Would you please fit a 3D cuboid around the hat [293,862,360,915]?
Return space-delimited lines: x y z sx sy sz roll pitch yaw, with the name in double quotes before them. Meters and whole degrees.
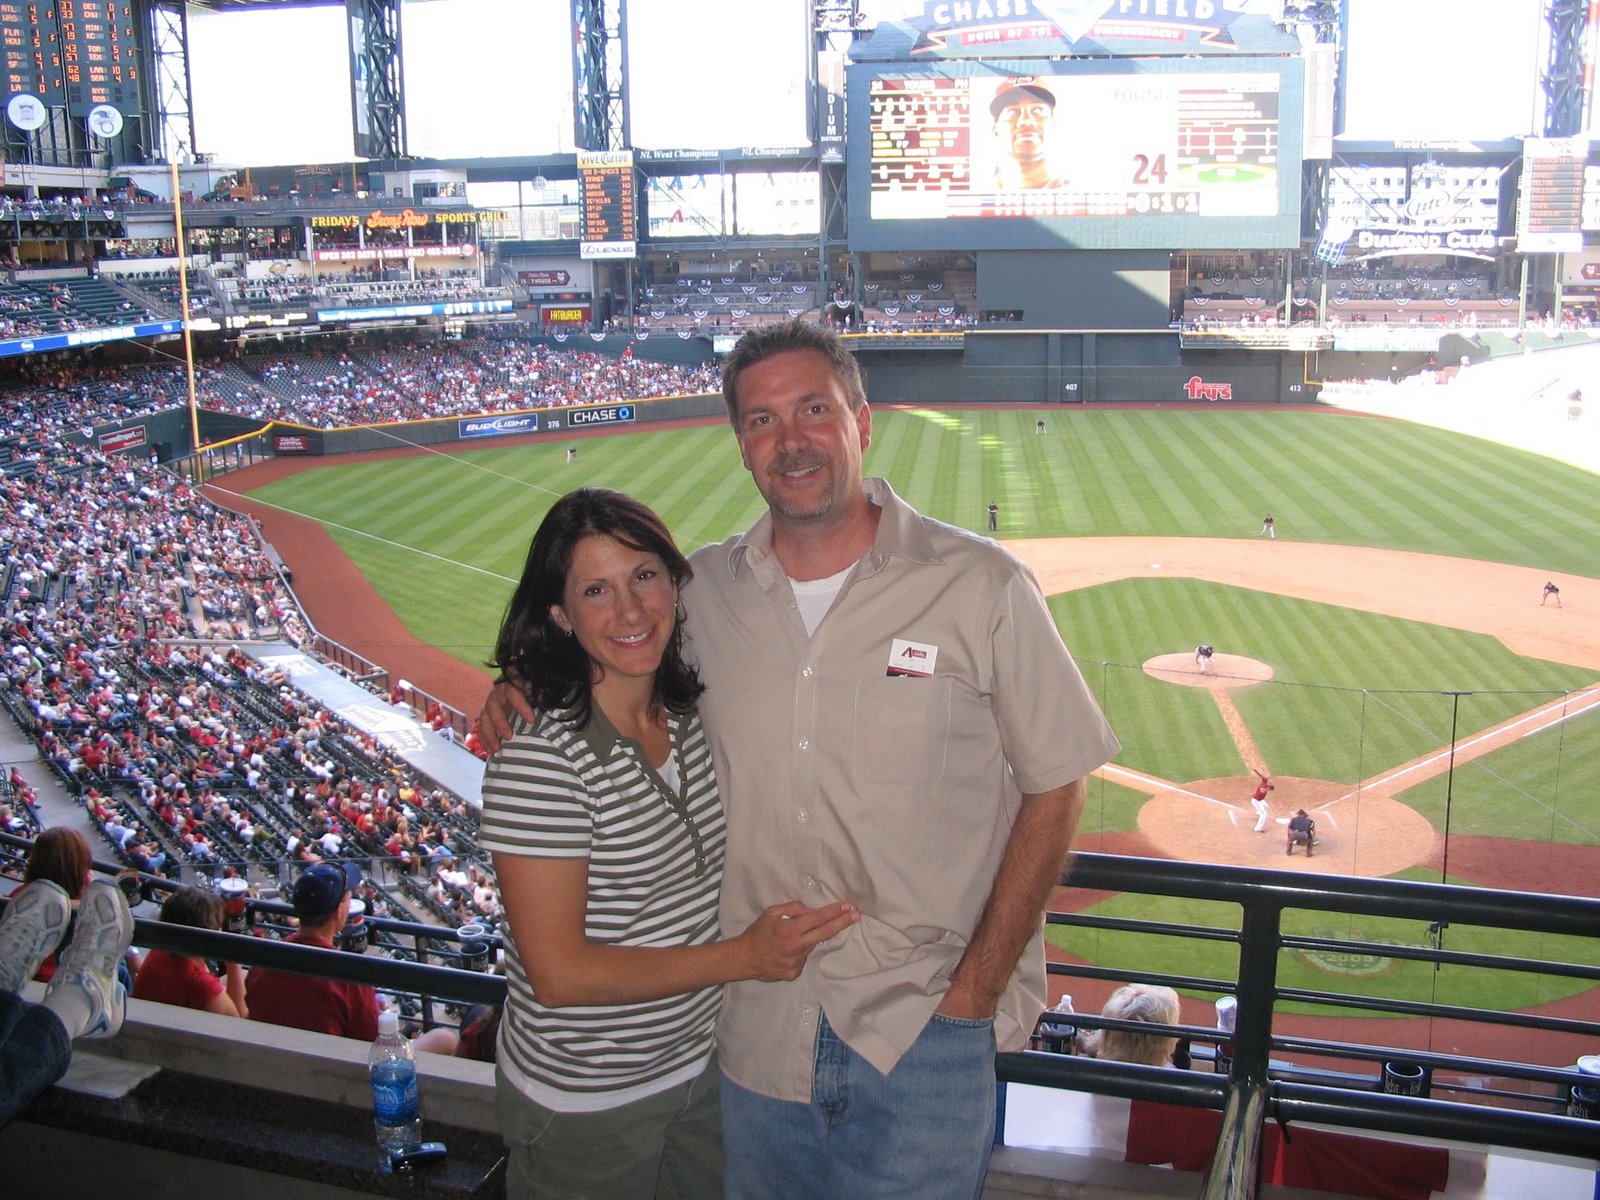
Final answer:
"hat" -1.953 1.167 5.261 0.188 0.234 0.500 -10 0 -14

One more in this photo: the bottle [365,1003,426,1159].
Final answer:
"bottle" -1.015 1.198 3.179 0.117 0.369 0.193 -10 1 -23

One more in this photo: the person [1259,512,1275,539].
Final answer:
"person" 10.390 -1.621 28.615 0.331 0.549 1.338 -10 0 22

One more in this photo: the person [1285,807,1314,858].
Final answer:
"person" 5.340 2.465 13.773 0.270 0.468 0.754 -10 0 24
